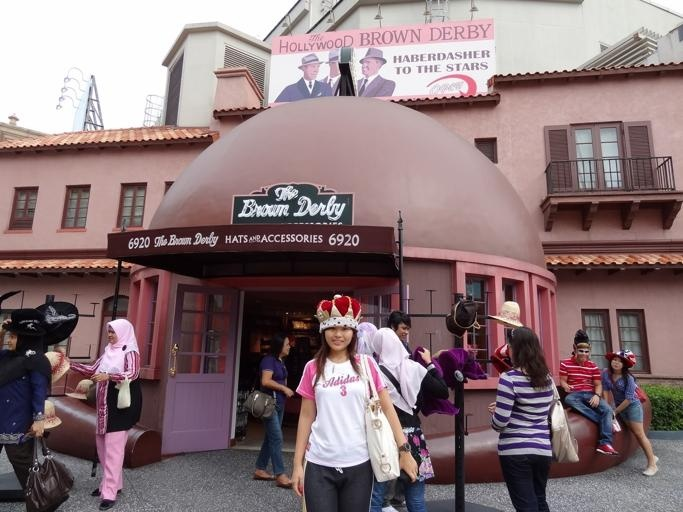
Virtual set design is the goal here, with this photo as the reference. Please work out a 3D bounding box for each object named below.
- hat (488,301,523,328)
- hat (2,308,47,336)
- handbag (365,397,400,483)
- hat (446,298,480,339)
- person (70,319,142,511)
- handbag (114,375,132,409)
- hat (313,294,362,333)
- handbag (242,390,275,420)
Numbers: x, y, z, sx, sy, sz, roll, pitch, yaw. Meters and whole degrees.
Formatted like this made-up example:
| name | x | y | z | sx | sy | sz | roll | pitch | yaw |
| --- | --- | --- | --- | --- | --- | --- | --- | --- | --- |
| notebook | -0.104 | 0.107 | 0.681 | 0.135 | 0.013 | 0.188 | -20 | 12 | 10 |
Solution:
| name | x | y | z | sx | sy | sz | roll | pitch | yaw |
| --- | --- | --- | --- | --- | --- | --- | --- | --- | --- |
| hat | 2.391 | 0.867 | 6.811 | 0.524 | 0.372 | 0.635 | 8 | -13 | 23 |
| hat | -4.067 | 0.819 | 6.029 | 0.372 | 0.178 | 0.378 | -4 | 15 | -34 |
| handbag | 0.369 | 1.706 | 4.349 | 0.242 | 0.746 | 0.584 | -12 | -14 | 1 |
| hat | 1.484 | 0.744 | 5.776 | 0.349 | 0.465 | 0.431 | -1 | -6 | 12 |
| person | -3.294 | 2.223 | 6.829 | 0.669 | 2.585 | 0.463 | 3 | -7 | -25 |
| handbag | -3.169 | 1.974 | 6.805 | 0.206 | 0.454 | 0.153 | 3 | -7 | -27 |
| hat | -0.048 | 0.582 | 4.752 | 0.388 | 0.316 | 0.348 | -9 | -16 | 37 |
| handbag | -1.281 | 2.305 | 7.302 | 0.472 | 0.418 | 0.284 | 0 | -6 | -5 |
